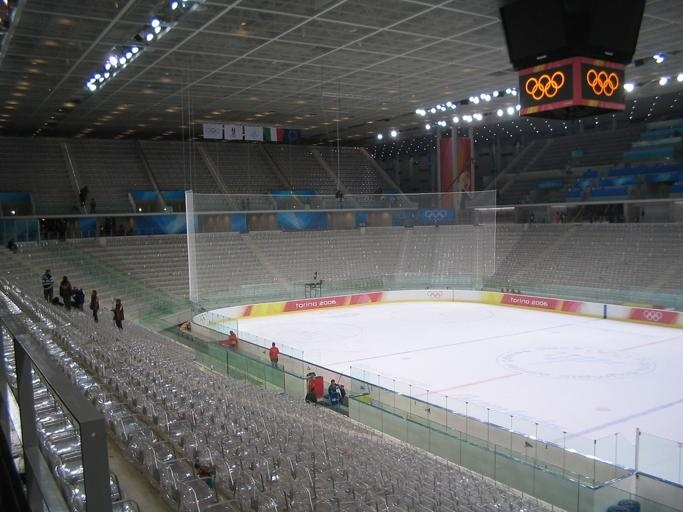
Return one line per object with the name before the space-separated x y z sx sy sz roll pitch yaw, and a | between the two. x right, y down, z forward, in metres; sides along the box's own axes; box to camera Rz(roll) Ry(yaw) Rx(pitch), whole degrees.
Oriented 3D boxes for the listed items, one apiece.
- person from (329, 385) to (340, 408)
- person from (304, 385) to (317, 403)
person | -0.191 4.156 15.058 0.353 0.720 0.204 -1 6 3
person | -0.904 4.162 15.000 0.334 0.606 0.804 -2 5 -3
